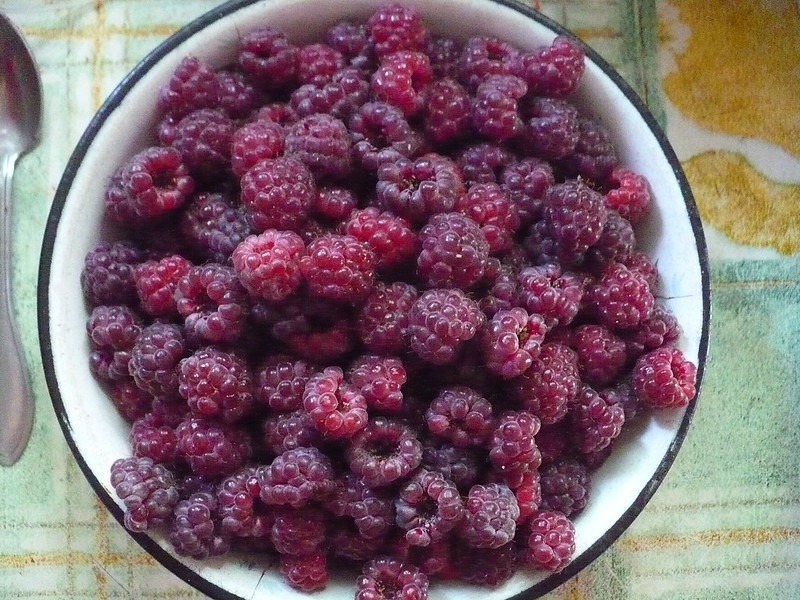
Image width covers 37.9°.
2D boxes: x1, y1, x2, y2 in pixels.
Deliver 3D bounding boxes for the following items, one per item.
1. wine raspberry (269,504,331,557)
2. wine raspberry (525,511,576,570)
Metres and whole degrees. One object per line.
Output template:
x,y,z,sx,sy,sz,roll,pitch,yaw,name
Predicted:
-0.168,0.357,1.774,0.100,0.082,0.056,2,79,-23,wine raspberry
0.229,0.367,1.777,0.079,0.052,0.085,18,66,3,wine raspberry
